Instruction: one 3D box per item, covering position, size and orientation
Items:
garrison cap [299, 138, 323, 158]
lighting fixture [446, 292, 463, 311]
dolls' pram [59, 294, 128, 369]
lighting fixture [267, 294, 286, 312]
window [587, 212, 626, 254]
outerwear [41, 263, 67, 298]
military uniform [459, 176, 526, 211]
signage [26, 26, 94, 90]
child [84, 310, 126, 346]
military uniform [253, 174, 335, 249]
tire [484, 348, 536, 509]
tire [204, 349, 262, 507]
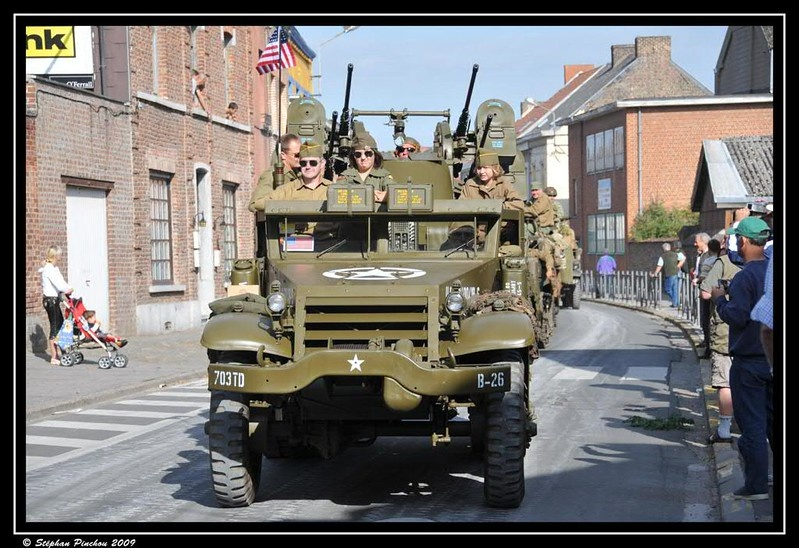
[{"bbox_3d":[-1.053,-1.494,12.052,0.257,0.223,0.362,-1,-5,0],"label":"garrison cap"},{"bbox_3d":[0.531,0.274,9.534,0.163,0.176,0.068,-1,3,3],"label":"lighting fixture"},{"bbox_3d":[-5.623,1.088,18.703,1.265,1.291,0.841,3,0,-7],"label":"dolls' pram"},{"bbox_3d":[-1.153,0.281,9.513,0.171,0.192,0.071,-2,3,-4],"label":"lighting fixture"},{"bbox_3d":[11.508,-2.149,55.727,0.284,2.333,3.747,-2,1,-25],"label":"window"},{"bbox_3d":[-6.683,0.137,19.451,0.402,0.617,0.636,-11,10,-37],"label":"outerwear"},{"bbox_3d":[1.232,-0.888,13.365,0.908,0.609,0.528,-1,-1,5],"label":"military uniform"},{"bbox_3d":[-7.181,-4.674,21.845,1.695,1.588,0.999,4,18,3],"label":"signage"},{"bbox_3d":[-5.368,1.045,18.531,0.980,0.660,0.393,10,-5,14],"label":"child"},{"bbox_3d":[-1.169,-0.684,11.409,0.980,0.533,0.255,3,-7,-22],"label":"military uniform"},{"bbox_3d":[1.006,1.485,9.444,0.426,1.465,0.549,-1,3,5],"label":"tire"},{"bbox_3d":[-1.550,1.662,9.521,0.521,1.156,0.411,-2,3,-19],"label":"tire"}]
